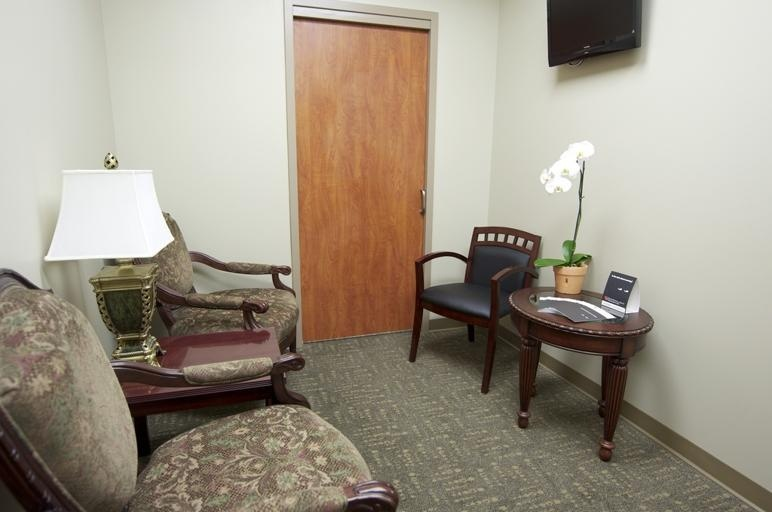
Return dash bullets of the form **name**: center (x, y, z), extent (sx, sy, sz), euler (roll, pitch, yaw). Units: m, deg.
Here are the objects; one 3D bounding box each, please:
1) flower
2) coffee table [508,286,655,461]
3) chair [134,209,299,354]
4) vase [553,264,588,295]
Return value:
- **flower**: center (1.135, -0.267, 3.232), extent (0.333, 0.892, 0.589), euler (5, 17, 18)
- **coffee table**: center (1.061, 0.671, 3.147), extent (0.868, 0.848, 0.849), euler (2, 13, 6)
- **chair**: center (-0.907, 0.162, 3.454), extent (0.998, 1.162, 0.869), euler (2, 17, -3)
- **vase**: center (1.107, 0.130, 3.072), extent (0.184, 0.137, 0.180), euler (1, 3, -3)
